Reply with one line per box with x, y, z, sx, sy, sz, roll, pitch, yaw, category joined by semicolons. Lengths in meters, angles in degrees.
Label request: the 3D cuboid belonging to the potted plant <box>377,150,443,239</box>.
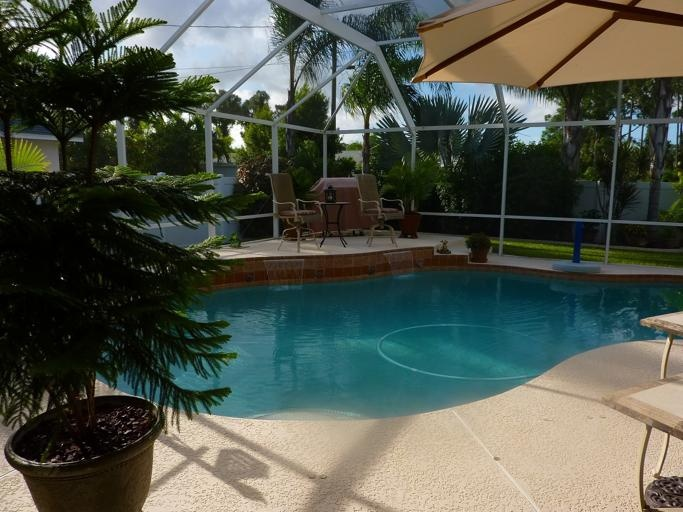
1.637;-1.231;10.968;1.374;1.612;1.413;2;-9;29;potted plant

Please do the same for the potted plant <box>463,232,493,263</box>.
2.505;-0.156;8.985;0.554;0.539;0.525;1;7;17;potted plant

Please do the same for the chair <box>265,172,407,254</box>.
-0.158;-0.841;9.893;2.017;1.046;0.918;-4;4;-33;chair
